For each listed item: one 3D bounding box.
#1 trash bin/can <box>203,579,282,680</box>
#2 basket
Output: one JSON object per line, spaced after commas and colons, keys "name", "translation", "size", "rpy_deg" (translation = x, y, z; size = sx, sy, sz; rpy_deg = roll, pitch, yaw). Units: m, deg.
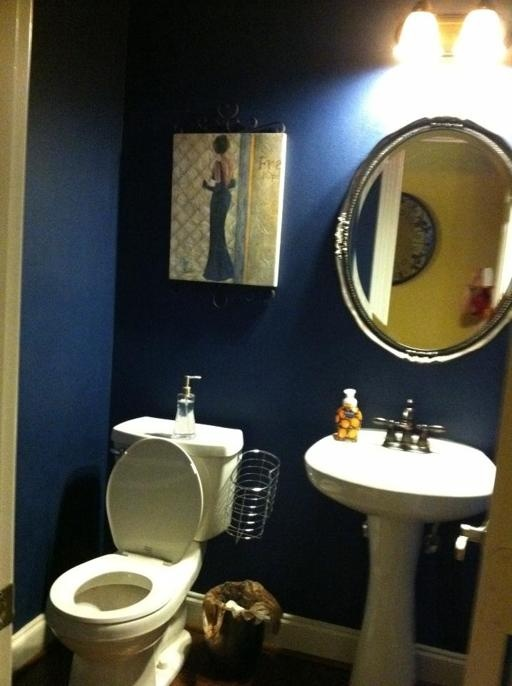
{"name": "trash bin/can", "translation": [-0.063, 0.866, 2.171], "size": [0.243, 0.254, 0.225], "rpy_deg": [-2, 6, -13]}
{"name": "basket", "translation": [-0.006, 0.506, 2.264], "size": [0.133, 0.252, 0.242], "rpy_deg": [6, 22, 2]}
